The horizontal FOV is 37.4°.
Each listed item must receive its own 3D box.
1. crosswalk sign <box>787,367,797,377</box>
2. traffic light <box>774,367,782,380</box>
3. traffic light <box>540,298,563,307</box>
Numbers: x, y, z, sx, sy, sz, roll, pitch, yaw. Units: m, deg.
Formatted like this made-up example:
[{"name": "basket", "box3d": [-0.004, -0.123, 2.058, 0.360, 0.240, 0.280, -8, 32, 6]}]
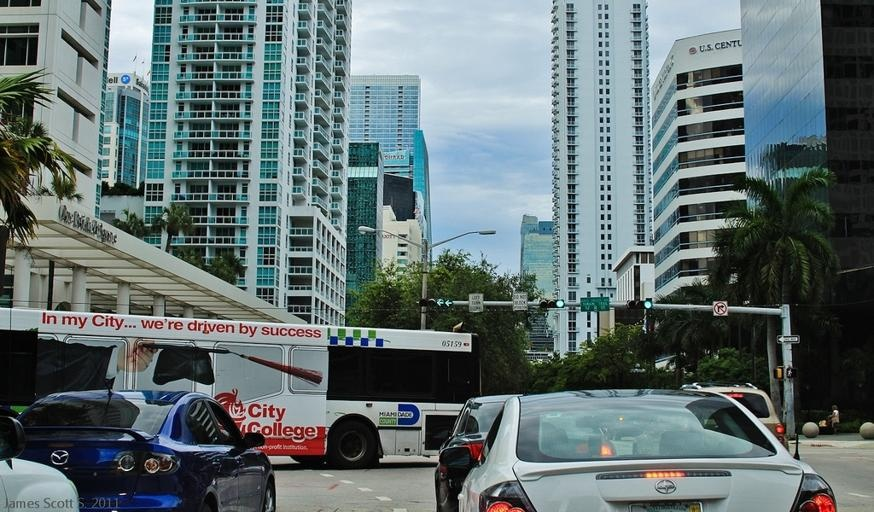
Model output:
[{"name": "crosswalk sign", "box3d": [23.725, 7.794, 86.366, 0.557, 0.664, 0.880, -4, -10, 33]}, {"name": "traffic light", "box3d": [22.935, 7.840, 86.637, 0.393, 0.734, 0.976, 1, -8, 3]}, {"name": "traffic light", "box3d": [8.106, 3.316, 91.230, 1.395, 0.514, 1.294, 0, -7, 3]}]
